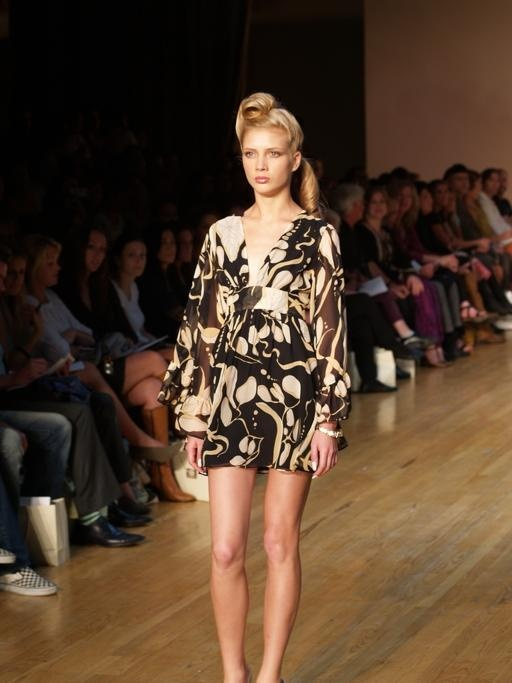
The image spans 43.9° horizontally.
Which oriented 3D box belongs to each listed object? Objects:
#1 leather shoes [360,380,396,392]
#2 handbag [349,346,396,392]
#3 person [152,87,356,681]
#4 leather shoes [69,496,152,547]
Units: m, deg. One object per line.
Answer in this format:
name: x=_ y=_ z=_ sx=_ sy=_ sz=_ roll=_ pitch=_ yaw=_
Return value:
leather shoes: x=0.909 y=0.342 z=4.845 sx=0.297 sy=0.105 sz=0.094 roll=-2 pitch=2 yaw=7
handbag: x=0.888 y=0.222 z=4.837 sx=0.394 sy=0.309 sz=0.197 roll=-1 pitch=-4 yaw=1
person: x=-0.004 y=0.099 z=1.137 sx=0.331 sy=0.736 sz=0.298 roll=-3 pitch=1 yaw=-8
leather shoes: x=-0.563 y=0.674 z=2.321 sx=0.326 sy=0.124 sz=0.103 roll=-3 pitch=6 yaw=12
